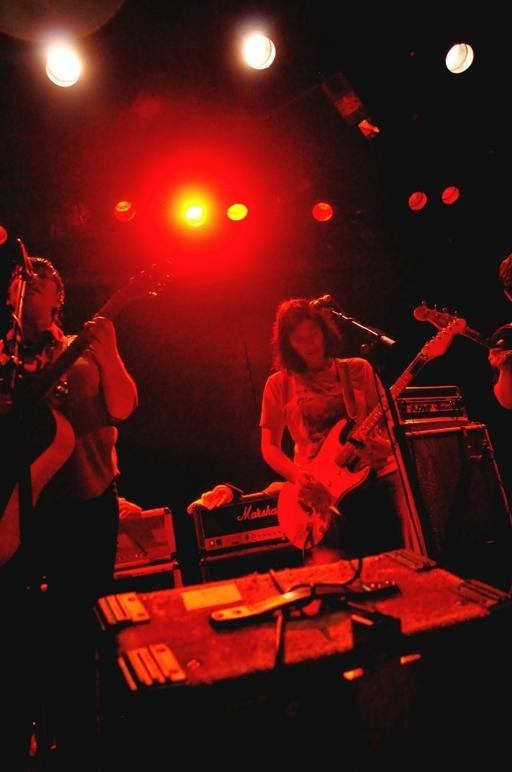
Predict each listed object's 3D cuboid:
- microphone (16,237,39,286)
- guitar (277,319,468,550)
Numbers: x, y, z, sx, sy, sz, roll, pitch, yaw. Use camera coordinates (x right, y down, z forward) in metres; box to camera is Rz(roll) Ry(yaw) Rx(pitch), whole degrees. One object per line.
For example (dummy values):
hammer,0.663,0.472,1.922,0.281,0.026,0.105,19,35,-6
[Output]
microphone,-0.806,-0.437,2.291,0.056,0.054,0.198,-23,-9,-15
guitar,0.764,0.381,3.336,0.517,0.232,1.725,8,-30,23
